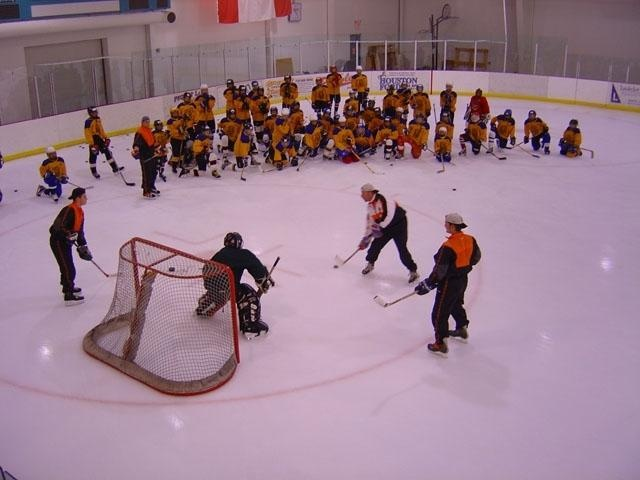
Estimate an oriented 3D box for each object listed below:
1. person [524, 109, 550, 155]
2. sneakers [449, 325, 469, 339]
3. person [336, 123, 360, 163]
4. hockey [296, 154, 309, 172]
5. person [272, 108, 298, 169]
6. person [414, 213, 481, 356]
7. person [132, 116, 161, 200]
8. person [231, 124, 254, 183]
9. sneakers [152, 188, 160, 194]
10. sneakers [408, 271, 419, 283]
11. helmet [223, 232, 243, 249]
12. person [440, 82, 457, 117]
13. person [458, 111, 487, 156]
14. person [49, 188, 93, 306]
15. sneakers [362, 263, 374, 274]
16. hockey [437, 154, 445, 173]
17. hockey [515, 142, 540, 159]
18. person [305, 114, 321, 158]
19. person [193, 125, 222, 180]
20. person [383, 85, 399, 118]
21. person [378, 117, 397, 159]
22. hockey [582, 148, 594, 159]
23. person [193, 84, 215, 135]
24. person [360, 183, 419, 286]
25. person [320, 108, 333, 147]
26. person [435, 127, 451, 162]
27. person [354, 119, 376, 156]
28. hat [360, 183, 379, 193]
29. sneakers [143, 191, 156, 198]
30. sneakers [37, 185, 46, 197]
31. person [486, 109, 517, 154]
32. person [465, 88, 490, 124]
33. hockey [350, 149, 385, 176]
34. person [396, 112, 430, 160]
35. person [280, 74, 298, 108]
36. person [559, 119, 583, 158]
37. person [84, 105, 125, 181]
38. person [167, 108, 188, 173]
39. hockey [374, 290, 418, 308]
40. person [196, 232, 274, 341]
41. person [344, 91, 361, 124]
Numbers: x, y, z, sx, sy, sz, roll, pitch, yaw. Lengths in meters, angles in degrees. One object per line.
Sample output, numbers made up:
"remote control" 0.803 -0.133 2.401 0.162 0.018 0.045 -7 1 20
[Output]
"person" 5.338 -2.631 12.657 0.623 1.028 1.225 5 13 22
"sneakers" 1.705 1.132 6.323 0.074 0.168 0.165 -27 39 -33
"person" 0.633 -2.374 12.213 0.547 1.004 0.618 -3 44 13
"hockey" -0.424 -1.848 12.387 0.065 0.064 0.753 -39 14 27
"person" -0.779 -2.394 12.150 0.606 1.166 0.759 -11 26 -43
"person" 1.529 0.512 6.063 0.593 1.635 0.434 -7 14 -31
"person" -3.565 -1.682 10.566 0.456 1.615 0.792 -3 13 -17
"person" -1.815 -2.004 12.036 0.543 1.422 0.800 9 37 7
"sneakers" -3.392 -1.016 10.663 0.116 0.148 0.334 -10 10 -20
"sneakers" 1.374 0.547 7.545 0.053 0.111 0.159 15 54 48
"helmet" -1.097 0.011 6.566 0.170 0.222 0.220 19 26 42
"person" 3.411 -3.584 13.828 0.405 1.141 0.388 12 36 29
"person" 3.779 -2.601 12.727 0.585 0.962 0.976 5 13 23
"person" -3.497 0.034 7.253 0.486 1.546 0.750 -6 13 -26
"sneakers" 0.732 0.435 7.802 0.149 0.106 0.054 -24 50 -12
"hockey" 2.829 -1.777 12.054 0.184 0.083 0.534 1 36 5
"hockey" 5.119 -2.195 12.719 0.115 0.058 1.059 -42 28 5
"person" -0.180 -2.460 12.458 0.411 0.929 0.664 2 12 9
"person" -2.681 -2.077 12.161 0.628 1.090 1.704 -2 12 -13
"person" 1.941 -3.746 14.029 0.422 0.814 0.457 2 12 8
"person" 1.662 -2.472 12.671 0.452 0.948 0.838 -2 12 -10
"hockey" 6.381 -2.061 12.322 0.300 0.169 0.301 5 10 -23
"person" -3.009 -3.277 13.601 0.487 1.474 0.407 -3 30 -12
"person" 0.998 -0.173 7.493 0.780 1.469 0.595 2 18 28
"person" 0.160 -2.699 12.687 0.304 0.862 0.662 0 12 -2
"person" 2.893 -2.249 12.171 0.369 0.847 0.569 5 13 23
"person" 1.005 -2.420 12.536 0.559 0.793 0.482 0 19 21
"hat" 0.708 -0.748 7.181 0.216 0.108 0.164 -4 11 -3
"sneakers" -3.449 -0.920 10.503 0.237 0.107 0.092 2 44 11
"sneakers" -5.760 -1.000 10.675 0.157 0.153 0.367 -2 -15 -22
"person" 4.461 -2.671 12.632 0.607 1.108 0.581 6 30 -7
"person" 4.121 -3.410 13.538 0.608 1.118 0.323 15 56 28
"hockey" 1.105 -1.816 12.233 0.150 0.377 1.284 -28 29 -5
"person" 2.259 -2.485 12.386 0.688 1.164 0.727 8 22 -6
"person" -0.854 -4.160 14.503 0.449 0.872 0.855 -1 12 -4
"person" 5.902 -2.437 12.156 0.435 0.844 0.554 -28 35 -19
"person" -5.034 -2.246 11.971 0.666 1.560 1.395 -5 13 -23
"person" -3.235 -2.231 11.755 0.390 1.429 0.635 -3 12 -15
"hockey" 0.989 0.752 7.042 0.272 0.102 0.492 31 27 31
"person" -1.108 0.515 6.579 0.855 1.262 1.095 -13 26 -44
"person" 0.801 -3.253 13.052 0.423 0.963 0.274 2 -5 5
